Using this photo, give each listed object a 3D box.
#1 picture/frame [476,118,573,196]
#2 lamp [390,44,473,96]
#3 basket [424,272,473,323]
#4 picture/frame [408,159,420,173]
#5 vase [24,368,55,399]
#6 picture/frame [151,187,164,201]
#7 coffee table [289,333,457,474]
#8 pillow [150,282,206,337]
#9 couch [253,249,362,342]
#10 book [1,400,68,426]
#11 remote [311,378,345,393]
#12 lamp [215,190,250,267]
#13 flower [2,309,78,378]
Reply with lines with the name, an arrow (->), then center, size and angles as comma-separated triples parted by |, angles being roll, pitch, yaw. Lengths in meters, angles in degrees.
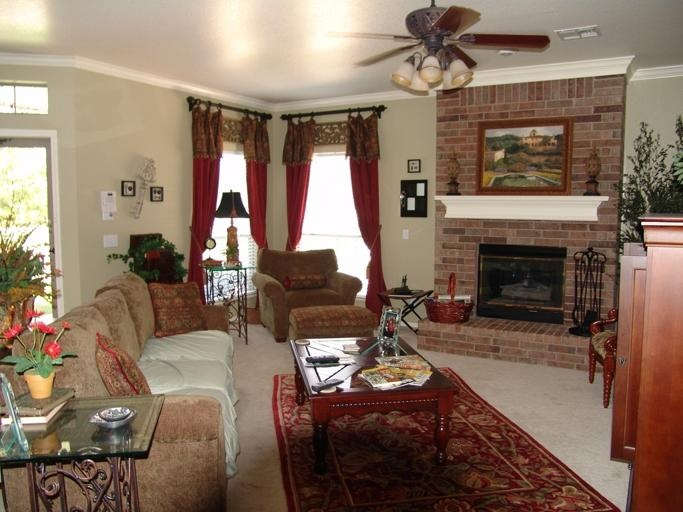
picture/frame -> 2.221, -1.186, 6.008 | 1.004, 0.788, 0.078 | 2, 6, 25
lamp -> 0.633, -1.202, 3.491 | 0.494, 0.217, 0.578 | 1, 4, -9
basket -> 1.288, 0.488, 6.150 | 0.596, 0.538, 0.597 | 0, 7, -3
picture/frame -> 1.008, -1.247, 6.988 | 0.197, 0.188, 0.014 | 2, 0, 27
vase -> -1.594, 0.678, 2.744 | 0.161, 0.121, 0.157 | 0, 6, 6
picture/frame -> -2.306, -0.779, 6.329 | 0.059, 0.166, 0.184 | 0, 6, 30
coffee table -> 0.189, 1.109, 4.046 | 1.030, 0.617, 1.216 | -2, 10, -11
pillow -> -1.562, 0.490, 4.798 | 0.519, 0.472, 0.119 | -9, -14, -41
couch -> -0.549, 0.352, 6.840 | 1.681, 1.334, 1.136 | -2, 1, -22
book -> -1.573, 0.804, 2.585 | 0.156, 0.030, 0.158 | 0, 6, -12
remote -> -0.096, 0.902, 3.541 | 0.138, 0.029, 0.072 | -5, 10, -31
lamp -> -1.455, -0.405, 6.774 | 0.405, 0.936, 0.738 | -2, 10, -11
flower -> -1.656, 0.492, 2.814 | 0.390, 0.326, 0.373 | 4, 21, -13
